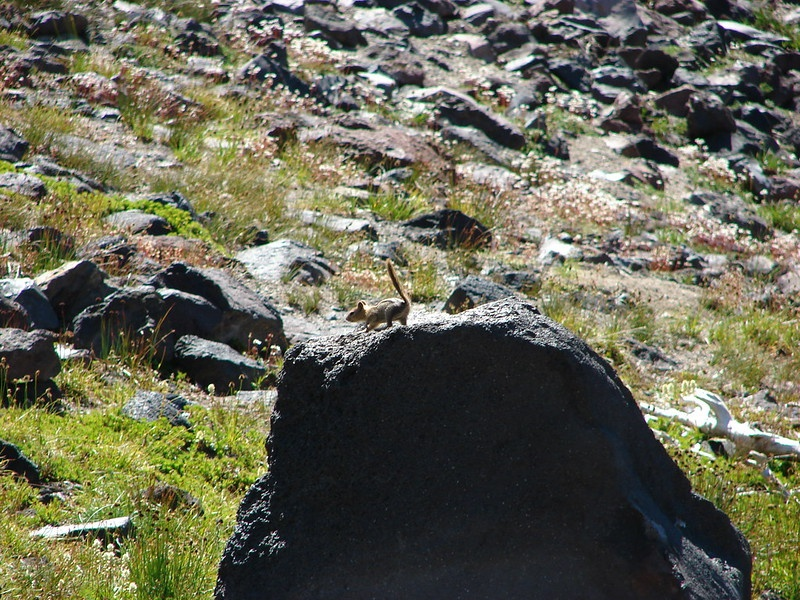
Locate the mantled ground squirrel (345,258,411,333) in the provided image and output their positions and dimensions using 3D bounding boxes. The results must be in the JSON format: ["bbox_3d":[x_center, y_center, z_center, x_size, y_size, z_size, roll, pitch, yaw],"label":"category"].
[{"bbox_3d":[-0.316,0.045,28.528,1.002,1.271,0.928,6,36,-1],"label":"mantled ground squirrel"}]
